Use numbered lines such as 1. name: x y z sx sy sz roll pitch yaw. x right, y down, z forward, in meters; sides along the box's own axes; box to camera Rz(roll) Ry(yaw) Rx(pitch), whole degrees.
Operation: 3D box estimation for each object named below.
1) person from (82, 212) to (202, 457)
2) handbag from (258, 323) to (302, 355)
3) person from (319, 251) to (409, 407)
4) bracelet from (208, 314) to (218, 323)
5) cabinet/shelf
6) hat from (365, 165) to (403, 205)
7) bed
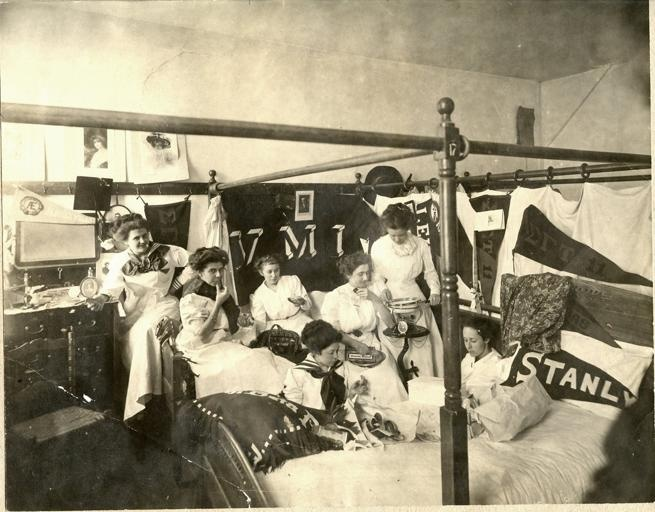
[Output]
1. person: -0.793 0.260 3.647 0.284 0.882 0.492 -13 -1 19
2. handbag: -0.214 0.383 3.675 0.197 0.162 0.117 3 -8 -3
3. person: 0.221 0.352 3.898 0.362 0.942 0.422 -13 15 -42
4. bracelet: -0.510 0.277 3.637 0.026 0.028 0.029 12 -29 20
5. cabinet/shelf: -1.187 0.464 3.564 0.404 0.480 0.156 0 7 -7
6. hat: 0.248 -0.324 3.755 0.160 0.178 0.038 23 -8 -26
7. bed: 0.379 0.674 3.955 1.319 0.906 0.872 -5 7 -7
